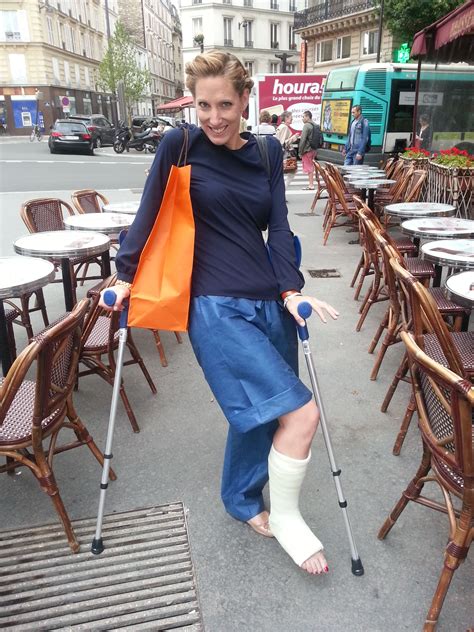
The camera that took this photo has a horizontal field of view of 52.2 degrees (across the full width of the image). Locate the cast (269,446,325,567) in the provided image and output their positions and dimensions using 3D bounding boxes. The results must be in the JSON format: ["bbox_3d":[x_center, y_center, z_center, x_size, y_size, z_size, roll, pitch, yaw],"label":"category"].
[{"bbox_3d":[0.213,0.677,1.727,0.130,0.346,0.303,-4,16,-27],"label":"cast"}]

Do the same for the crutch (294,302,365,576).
[{"bbox_3d":[0.322,0.438,1.815,0.088,1.013,0.078,-24,-20,40],"label":"crutch"}]

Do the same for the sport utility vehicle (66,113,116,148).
[{"bbox_3d":[-8.158,-10.681,27.729,1.717,1.475,3.555,7,28,9],"label":"sport utility vehicle"}]

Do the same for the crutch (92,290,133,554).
[{"bbox_3d":[-0.639,0.552,2.465,0.308,1.126,0.415,-1,25,-9],"label":"crutch"}]

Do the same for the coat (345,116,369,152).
[{"bbox_3d":[2.487,-3.711,9.985,0.451,0.727,0.420,13,28,30],"label":"coat"}]

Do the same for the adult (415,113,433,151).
[{"bbox_3d":[4.382,-4.312,11.353,0.296,0.796,0.441,6,25,19],"label":"adult"}]

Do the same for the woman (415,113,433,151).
[{"bbox_3d":[4.369,-4.313,11.357,0.321,0.796,0.442,6,25,18],"label":"woman"}]
